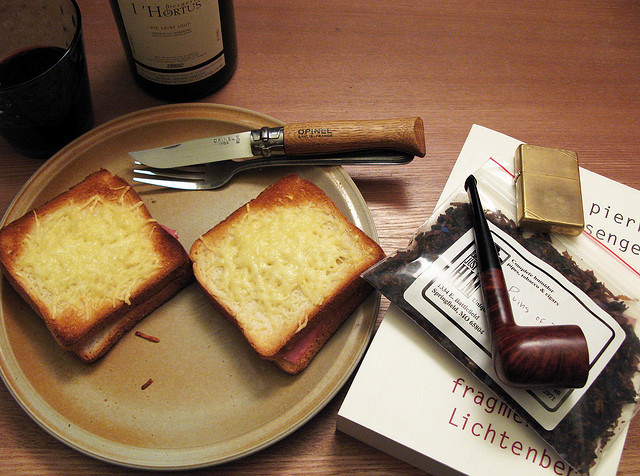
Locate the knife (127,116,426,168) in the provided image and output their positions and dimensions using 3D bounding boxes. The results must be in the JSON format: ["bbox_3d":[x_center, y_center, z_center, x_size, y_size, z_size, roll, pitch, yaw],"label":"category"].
[{"bbox_3d":[-0.129,-0.252,1.506,0.820,0.114,0.148,-1,80,5],"label":"knife"}]
